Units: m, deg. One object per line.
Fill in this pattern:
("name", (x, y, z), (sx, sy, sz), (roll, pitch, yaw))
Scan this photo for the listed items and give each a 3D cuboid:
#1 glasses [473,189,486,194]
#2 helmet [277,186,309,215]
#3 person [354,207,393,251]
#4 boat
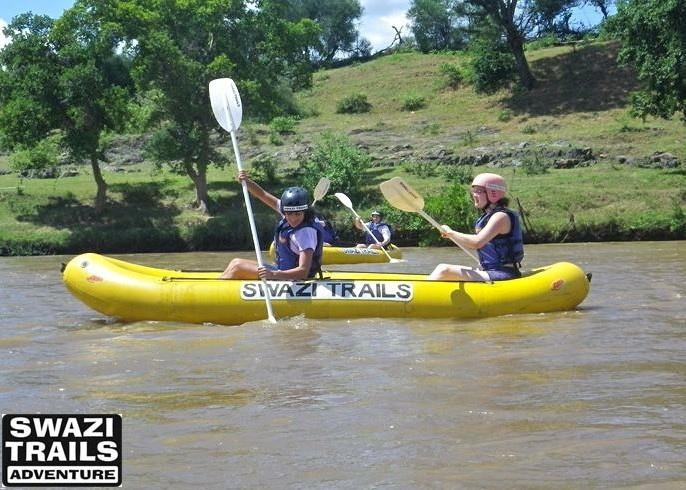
("glasses", (2.761, -1.125, 22.538), (0.142, 0.119, 0.045), (-1, 25, 27))
("helmet", (-0.972, -0.921, 22.577), (0.508, 0.531, 0.453), (3, 7, 2))
("person", (0.918, -0.438, 32.105), (1.141, 1.260, 1.128), (17, -28, -34))
("boat", (-0.382, 1.064, 23.318), (11.669, 1.526, 3.095), (1, -3, -1))
